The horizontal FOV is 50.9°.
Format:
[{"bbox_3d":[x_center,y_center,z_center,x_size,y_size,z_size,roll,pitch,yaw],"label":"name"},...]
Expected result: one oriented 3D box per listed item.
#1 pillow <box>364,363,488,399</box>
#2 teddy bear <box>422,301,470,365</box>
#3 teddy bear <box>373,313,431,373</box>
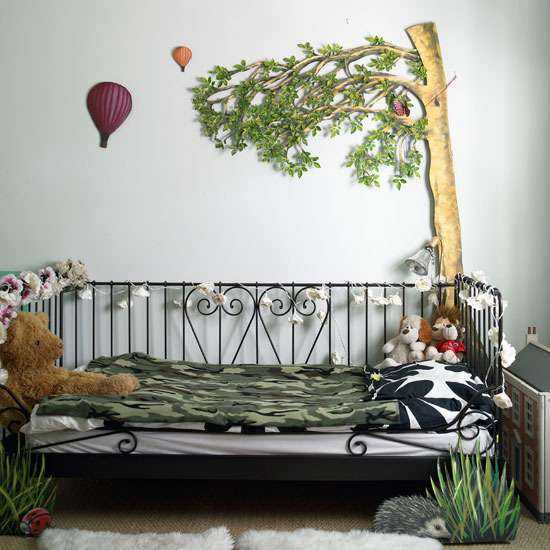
[{"bbox_3d":[0.607,0.419,2.295,0.420,0.114,0.242,1,3,17],"label":"pillow"},{"bbox_3d":[0.800,0.276,2.699,0.175,0.265,0.172,-3,11,32],"label":"teddy bear"},{"bbox_3d":[0.607,0.326,2.748,0.248,0.303,0.180,5,-5,11],"label":"teddy bear"}]
